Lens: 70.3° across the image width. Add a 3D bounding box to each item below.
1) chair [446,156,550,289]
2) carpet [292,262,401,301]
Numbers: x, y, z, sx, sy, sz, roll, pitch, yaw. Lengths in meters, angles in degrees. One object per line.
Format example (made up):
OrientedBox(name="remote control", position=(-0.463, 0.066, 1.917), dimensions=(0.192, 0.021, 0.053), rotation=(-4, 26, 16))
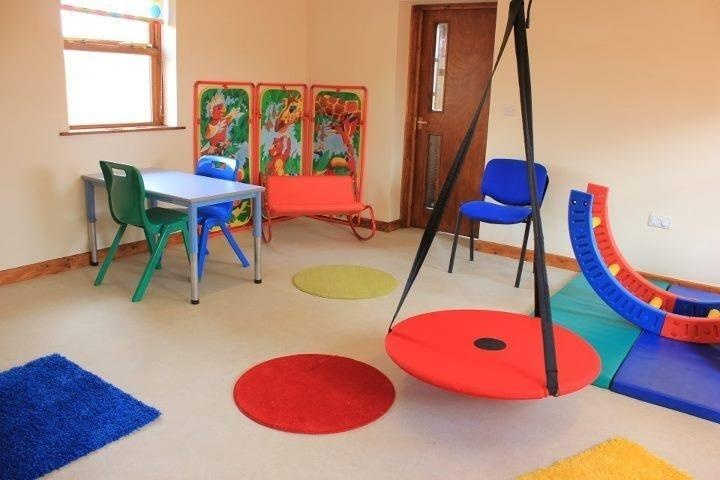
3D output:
OrientedBox(name="chair", position=(1.448, -0.255, 5.198), dimensions=(0.794, 1.057, 1.072), rotation=(9, 21, 21))
OrientedBox(name="carpet", position=(-0.134, 0.401, 4.720), dimensions=(0.973, 0.029, 0.650), rotation=(-1, 20, -8))
